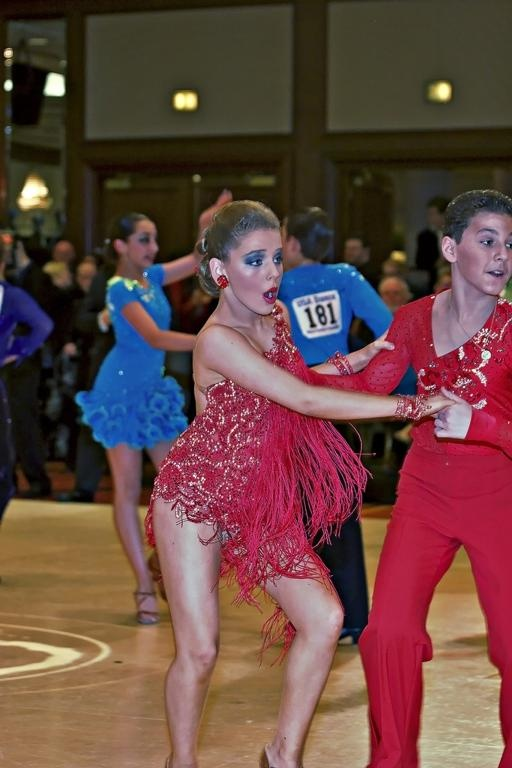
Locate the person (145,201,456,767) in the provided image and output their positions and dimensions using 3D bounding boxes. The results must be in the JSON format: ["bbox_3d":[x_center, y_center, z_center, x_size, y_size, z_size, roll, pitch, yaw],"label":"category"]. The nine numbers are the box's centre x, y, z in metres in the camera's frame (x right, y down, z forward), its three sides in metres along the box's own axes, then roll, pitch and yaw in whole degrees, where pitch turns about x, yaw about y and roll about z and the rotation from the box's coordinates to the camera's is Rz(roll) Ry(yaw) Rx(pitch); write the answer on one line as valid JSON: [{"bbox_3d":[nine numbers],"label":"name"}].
[{"bbox_3d":[0.048,0.232,1.468,0.549,1.211,0.435,3,4,22],"label":"person"}]

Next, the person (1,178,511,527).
[{"bbox_3d":[-0.013,-0.102,3.209,1.407,0.301,1.400,0,35,22],"label":"person"}]

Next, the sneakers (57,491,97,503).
[{"bbox_3d":[-0.785,0.496,3.353,0.143,0.048,0.045,14,-5,-32],"label":"sneakers"}]
